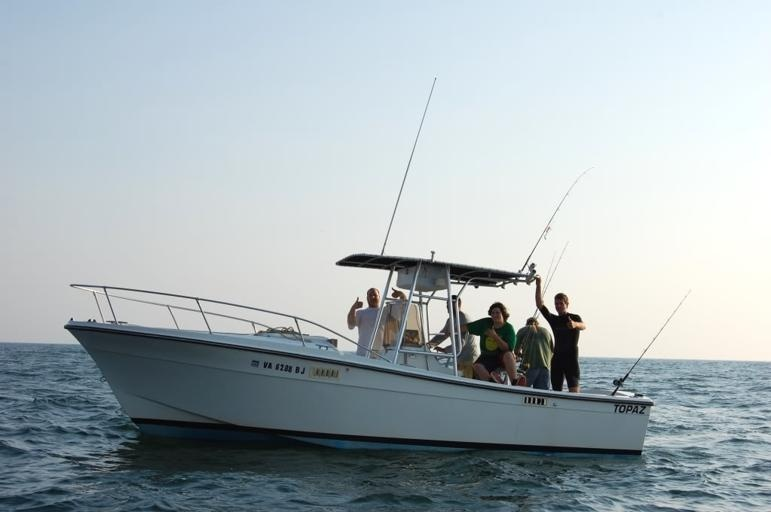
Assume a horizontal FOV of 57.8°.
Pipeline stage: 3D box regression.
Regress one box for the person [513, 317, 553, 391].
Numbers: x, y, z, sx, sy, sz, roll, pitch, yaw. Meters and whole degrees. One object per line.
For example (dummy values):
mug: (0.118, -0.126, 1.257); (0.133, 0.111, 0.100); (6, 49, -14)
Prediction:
person: (2.861, 2.087, 13.394); (0.738, 1.791, 0.673); (1, -8, 6)
